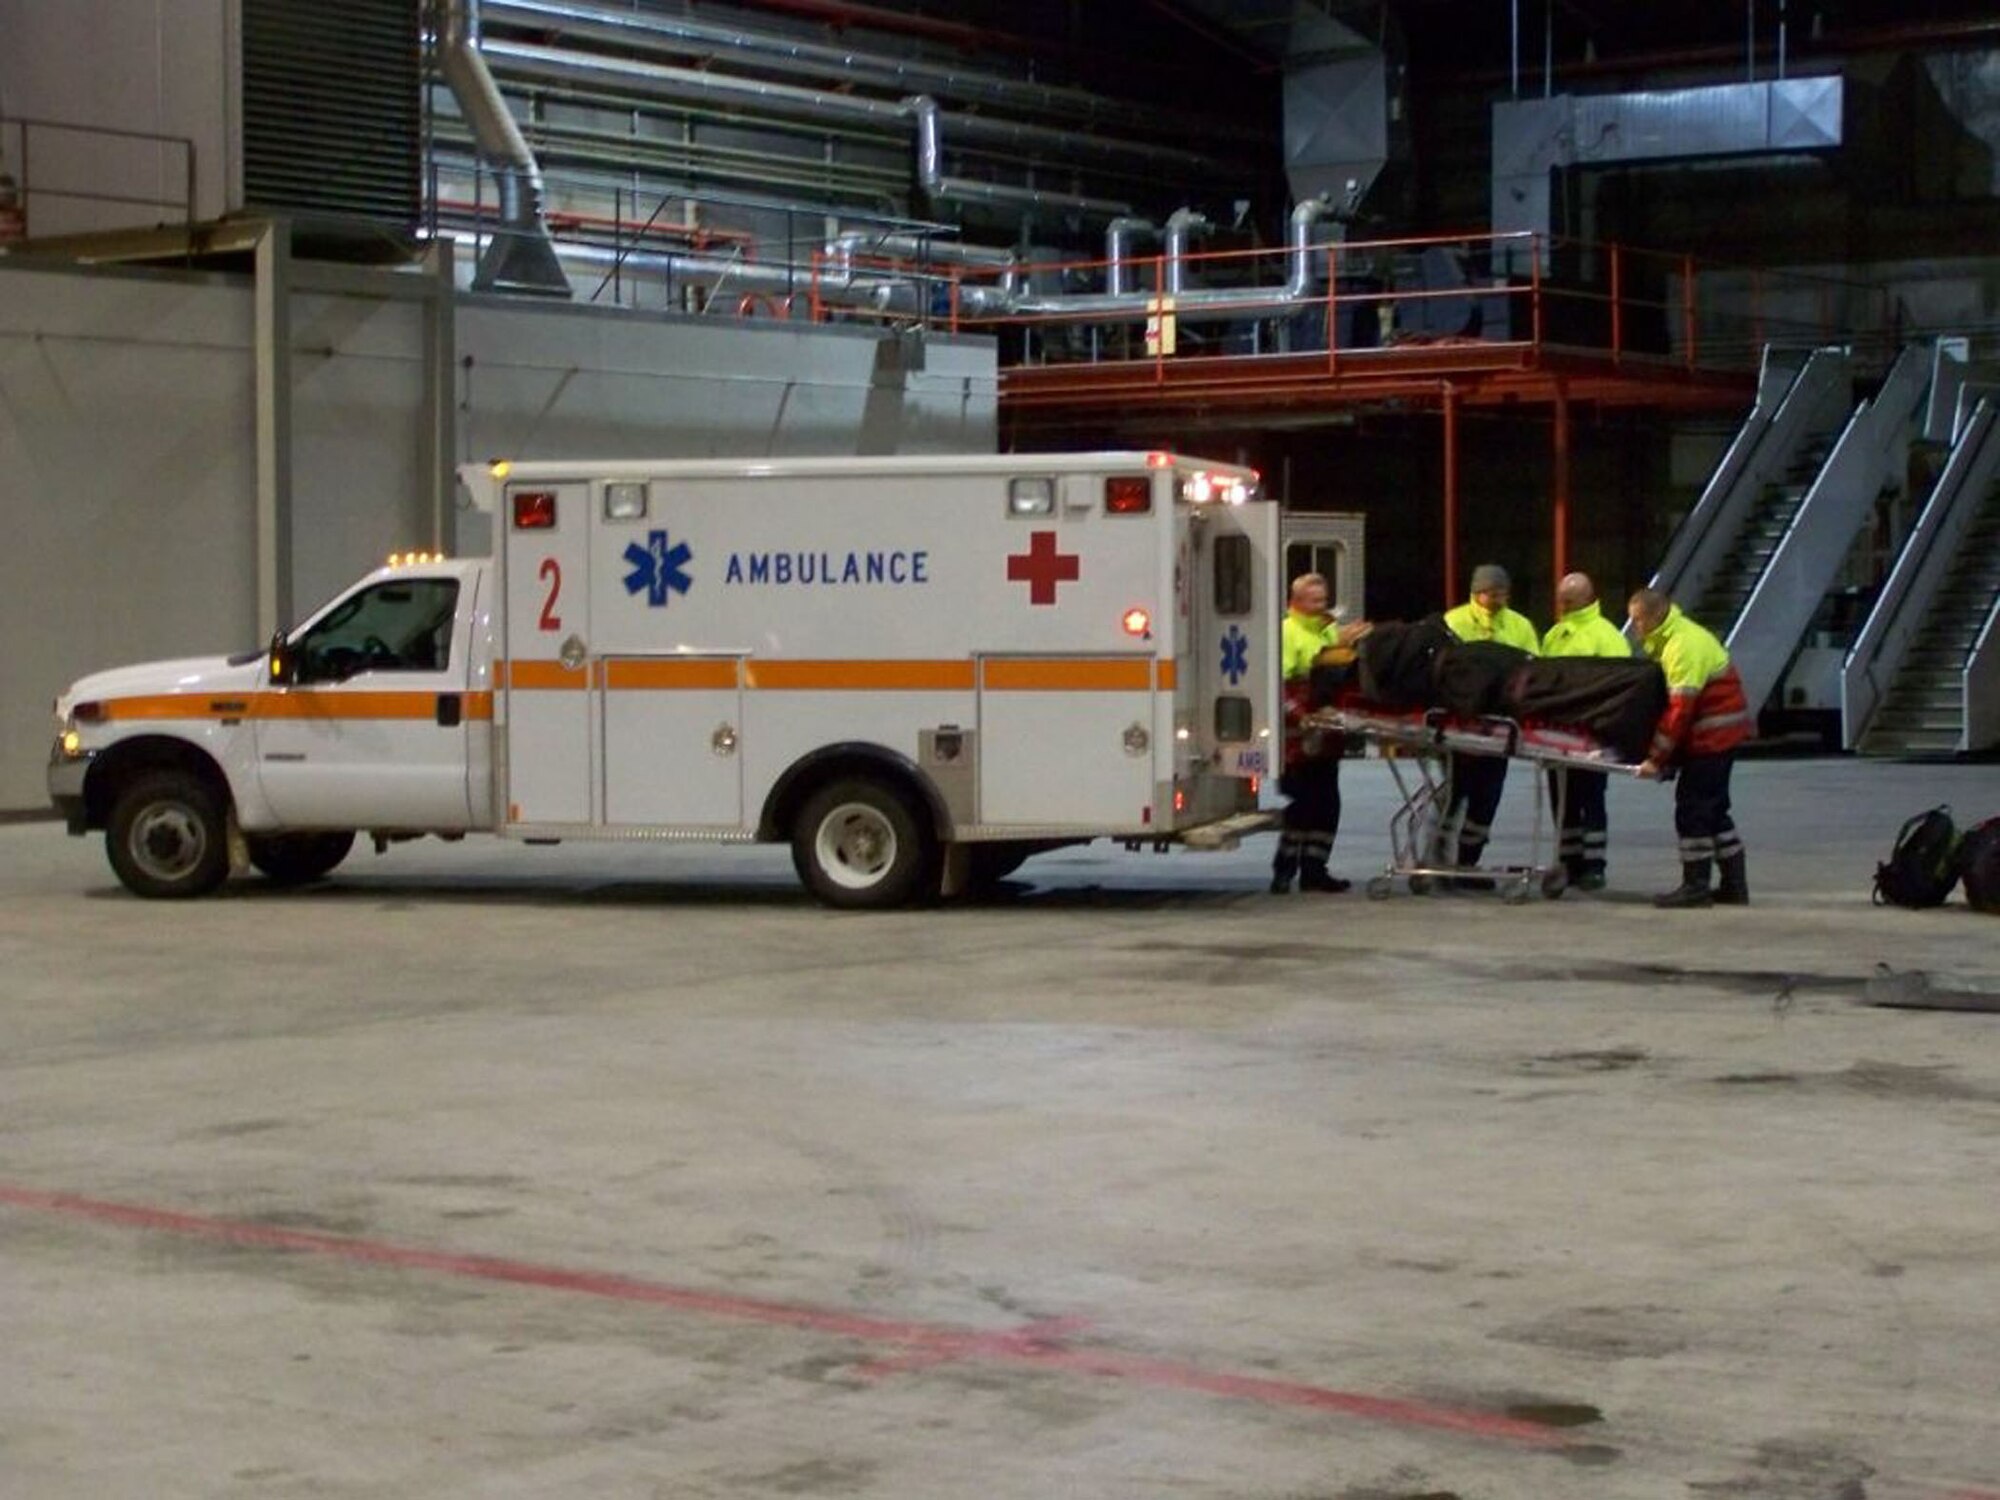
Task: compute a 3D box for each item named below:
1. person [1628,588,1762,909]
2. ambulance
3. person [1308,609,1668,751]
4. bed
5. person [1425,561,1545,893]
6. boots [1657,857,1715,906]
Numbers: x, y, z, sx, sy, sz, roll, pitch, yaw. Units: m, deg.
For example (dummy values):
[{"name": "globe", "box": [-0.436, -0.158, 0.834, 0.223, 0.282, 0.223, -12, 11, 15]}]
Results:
[{"name": "person", "box": [4.096, -0.028, 16.275, 1.033, 1.839, 0.777, 5, 10, 44]}, {"name": "ambulance", "box": [-2.125, -0.365, 16.979, 7.498, 2.694, 2.775, 0, -1, 15]}, {"name": "person", "box": [3.104, -0.405, 16.278, 1.852, 0.638, 1.094, 13, 17, 23]}, {"name": "bed", "box": [2.569, 0.334, 16.845, 2.494, 1.504, 1.293, -1, 1, 12]}, {"name": "person", "box": [3.101, -0.155, 16.991, 0.730, 1.969, 0.627, 3, 7, 9]}, {"name": "boots", "box": [4.170, 0.792, 16.092, 0.332, 0.307, 0.332, 3, 7, 14]}]
